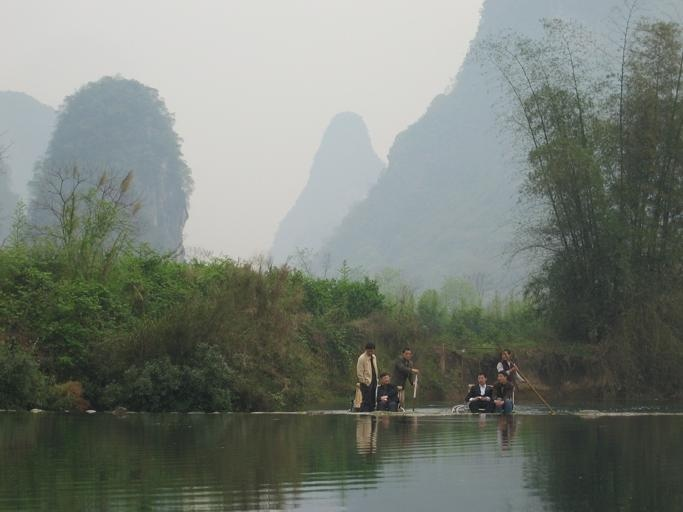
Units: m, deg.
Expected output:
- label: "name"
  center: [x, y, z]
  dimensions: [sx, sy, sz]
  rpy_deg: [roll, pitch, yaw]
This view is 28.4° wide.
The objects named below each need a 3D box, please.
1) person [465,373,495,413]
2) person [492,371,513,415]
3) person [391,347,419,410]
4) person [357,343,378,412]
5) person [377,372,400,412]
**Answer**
- label: "person"
  center: [4.727, 4.794, 45.433]
  dimensions: [0.859, 1.810, 0.910]
  rpy_deg: [1, -5, 3]
- label: "person"
  center: [5.446, 4.571, 45.064]
  dimensions: [0.662, 1.409, 0.674]
  rpy_deg: [-2, -12, 5]
- label: "person"
  center: [2.163, 4.274, 45.022]
  dimensions: [0.628, 2.434, 1.021]
  rpy_deg: [-9, 20, -31]
- label: "person"
  center: [0.885, 4.015, 44.629]
  dimensions: [0.651, 2.104, 0.965]
  rpy_deg: [-1, -12, 0]
- label: "person"
  center: [1.496, 4.692, 44.915]
  dimensions: [0.687, 1.675, 0.846]
  rpy_deg: [0, -4, 2]
